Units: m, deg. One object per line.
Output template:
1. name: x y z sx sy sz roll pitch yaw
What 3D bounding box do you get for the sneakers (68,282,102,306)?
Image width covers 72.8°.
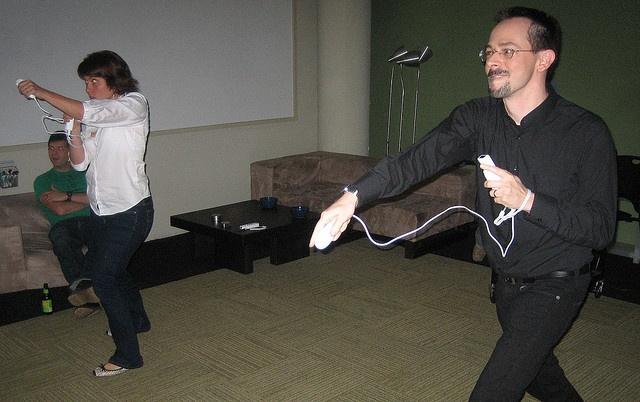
1. sneakers: -2.012 0.773 3.713 0.209 0.404 0.158 -2 60 -8

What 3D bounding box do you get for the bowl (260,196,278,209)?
1. bowl: -0.623 0.007 5.312 0.166 0.091 0.159 1 2 0

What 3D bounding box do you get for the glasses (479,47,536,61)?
1. glasses: 0.934 -0.729 2.140 0.217 0.061 0.092 5 18 27

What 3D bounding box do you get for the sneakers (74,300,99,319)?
1. sneakers: -2.094 0.959 3.894 0.253 0.137 0.087 -18 55 12

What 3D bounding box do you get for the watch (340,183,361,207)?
1. watch: 0.147 -0.038 2.246 0.107 0.097 0.112 15 22 19

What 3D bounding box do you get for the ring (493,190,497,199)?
1. ring: 0.799 -0.041 1.977 0.010 0.038 0.054 0 16 13

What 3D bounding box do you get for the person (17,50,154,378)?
1. person: -1.596 0.081 3.349 0.751 2.354 0.700 -9 17 -16

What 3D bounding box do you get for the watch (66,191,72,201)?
1. watch: -2.429 -0.057 4.203 0.059 0.074 0.023 4 -1 0

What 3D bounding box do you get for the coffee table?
1. coffee table: -0.781 0.396 5.053 1.363 0.657 1.054 7 19 33

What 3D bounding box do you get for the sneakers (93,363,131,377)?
1. sneakers: -1.613 1.270 3.317 0.186 0.035 0.095 6 5 -18

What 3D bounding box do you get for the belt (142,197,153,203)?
1. belt: -1.318 -0.019 3.296 0.042 0.011 0.045 -30 -8 12
